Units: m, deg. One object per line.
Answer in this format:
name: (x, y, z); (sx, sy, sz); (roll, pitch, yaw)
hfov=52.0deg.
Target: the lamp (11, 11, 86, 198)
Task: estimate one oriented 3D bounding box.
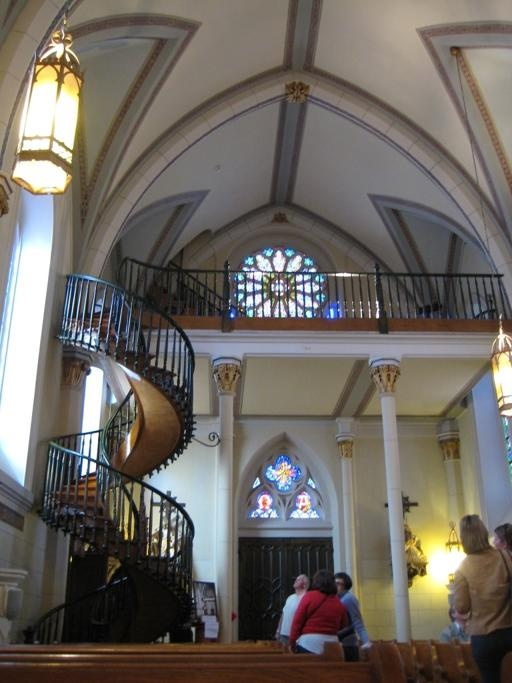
lamp: (-1.217, -1.565, 3.150); (0.308, 1.411, 0.407); (11, -23, -36)
